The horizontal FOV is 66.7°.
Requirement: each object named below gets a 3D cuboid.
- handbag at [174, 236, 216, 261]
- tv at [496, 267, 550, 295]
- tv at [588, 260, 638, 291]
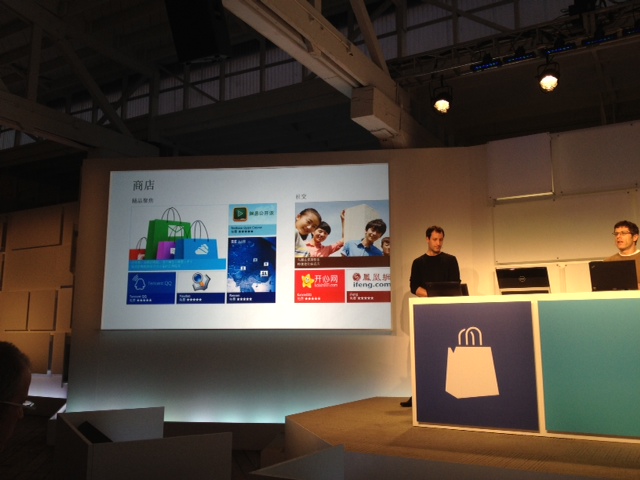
[{"bbox_3d":[-1.409,0.102,5.594,0.390,0.423,0.237,0,-2,-5],"label":"handbag"},{"bbox_3d":[1.470,0.298,3.522,0.339,0.197,0.222,-8,5,12],"label":"tv"},{"bbox_3d":[2.064,0.251,3.423,0.275,0.201,0.181,-6,5,32],"label":"tv"}]
